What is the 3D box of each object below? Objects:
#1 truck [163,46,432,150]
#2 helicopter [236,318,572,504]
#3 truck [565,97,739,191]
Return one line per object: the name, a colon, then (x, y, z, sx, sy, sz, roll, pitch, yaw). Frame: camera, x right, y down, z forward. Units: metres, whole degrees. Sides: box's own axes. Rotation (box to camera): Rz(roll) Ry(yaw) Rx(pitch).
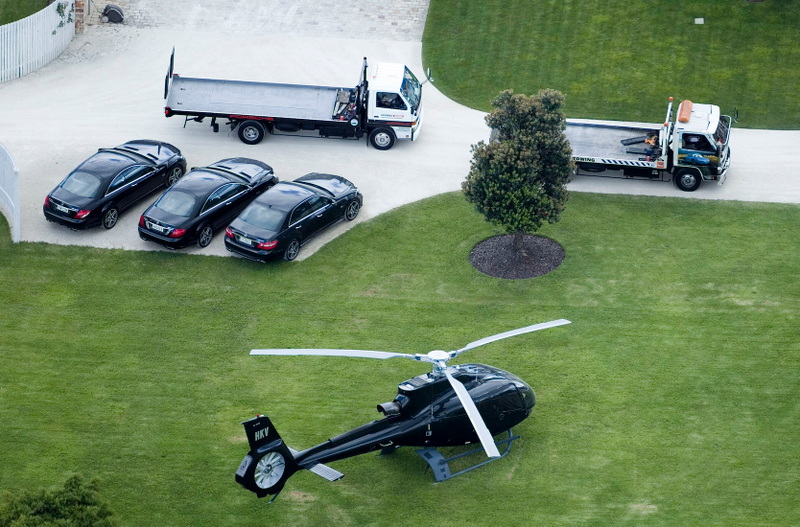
truck: (-4.174, -6.526, 55.949, 12.705, 3.802, 4.099, 1, 60, 0)
helicopter: (0.551, 4.424, 42.081, 12.452, 5.699, 8.782, -4, 28, -8)
truck: (10.611, -5.014, 52.405, 6.239, 3.404, 2.402, 7, 29, 13)
